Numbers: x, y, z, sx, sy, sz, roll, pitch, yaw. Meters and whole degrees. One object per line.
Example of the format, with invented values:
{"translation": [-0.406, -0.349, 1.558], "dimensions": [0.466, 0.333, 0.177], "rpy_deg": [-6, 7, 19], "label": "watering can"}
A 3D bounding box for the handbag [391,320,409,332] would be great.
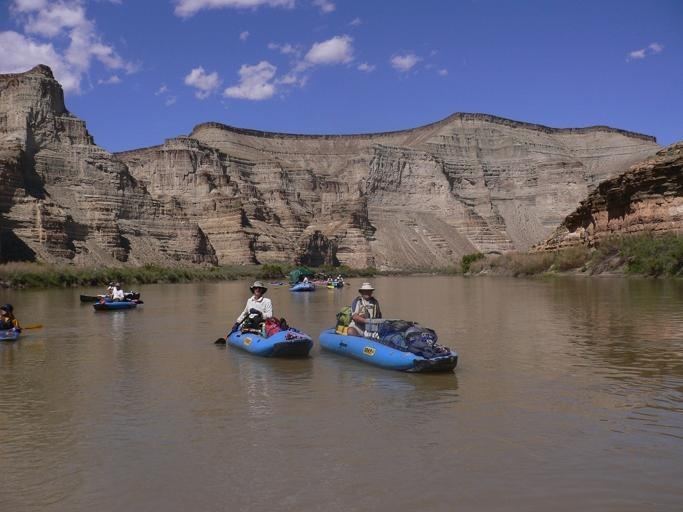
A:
{"translation": [1.354, 1.563, 16.050], "dimensions": [0.324, 0.256, 0.472], "rpy_deg": [3, -7, -35], "label": "handbag"}

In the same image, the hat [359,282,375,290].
{"translation": [0.598, 0.692, 16.986], "dimensions": [0.363, 0.130, 0.386], "rpy_deg": [0, -21, 17], "label": "hat"}

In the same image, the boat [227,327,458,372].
{"translation": [-0.182, 2.204, 16.877], "dimensions": [6.030, 0.977, 1.464], "rpy_deg": [-6, -7, 39], "label": "boat"}

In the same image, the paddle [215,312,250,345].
{"translation": [-3.026, 2.078, 19.474], "dimensions": [0.221, 0.322, 1.927], "rpy_deg": [-20, -14, -49], "label": "paddle"}

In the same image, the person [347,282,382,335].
{"translation": [0.556, 1.489, 17.115], "dimensions": [0.868, 1.559, 0.866], "rpy_deg": [-2, 5, -20], "label": "person"}
